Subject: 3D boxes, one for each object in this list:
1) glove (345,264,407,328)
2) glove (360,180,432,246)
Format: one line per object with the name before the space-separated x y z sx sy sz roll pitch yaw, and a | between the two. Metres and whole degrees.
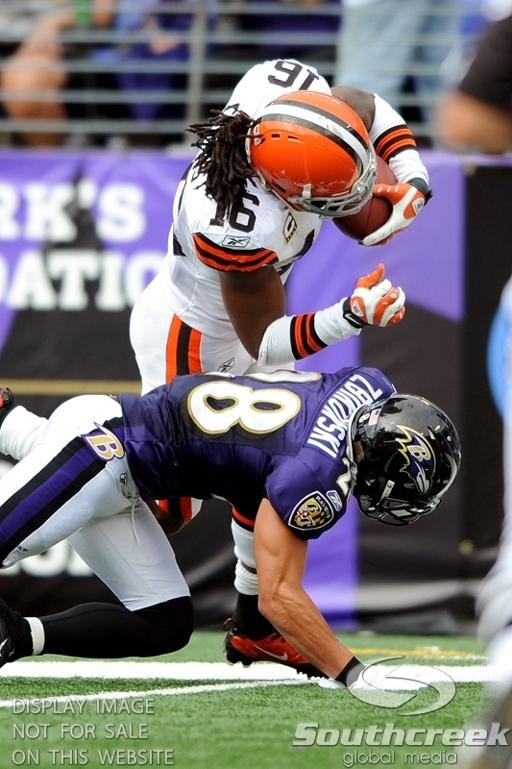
glove | 0.278 -0.187 1.926 0.133 0.073 0.143 4 45 14
glove | 0.363 -0.425 2.140 0.189 0.081 0.128 -30 44 7
